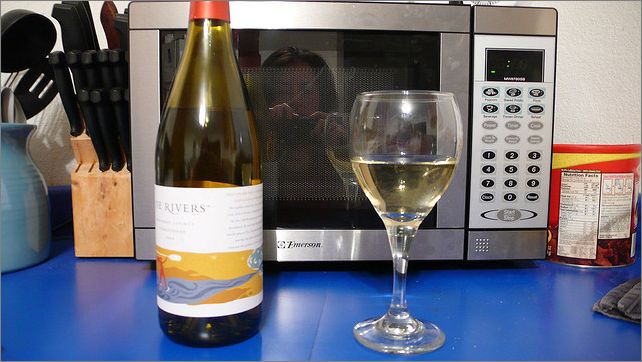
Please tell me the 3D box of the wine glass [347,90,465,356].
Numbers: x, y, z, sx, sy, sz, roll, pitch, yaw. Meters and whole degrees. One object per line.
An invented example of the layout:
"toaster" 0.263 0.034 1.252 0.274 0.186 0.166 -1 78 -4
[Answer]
"wine glass" 0.134 0.067 0.871 0.184 0.428 0.123 2 13 12
